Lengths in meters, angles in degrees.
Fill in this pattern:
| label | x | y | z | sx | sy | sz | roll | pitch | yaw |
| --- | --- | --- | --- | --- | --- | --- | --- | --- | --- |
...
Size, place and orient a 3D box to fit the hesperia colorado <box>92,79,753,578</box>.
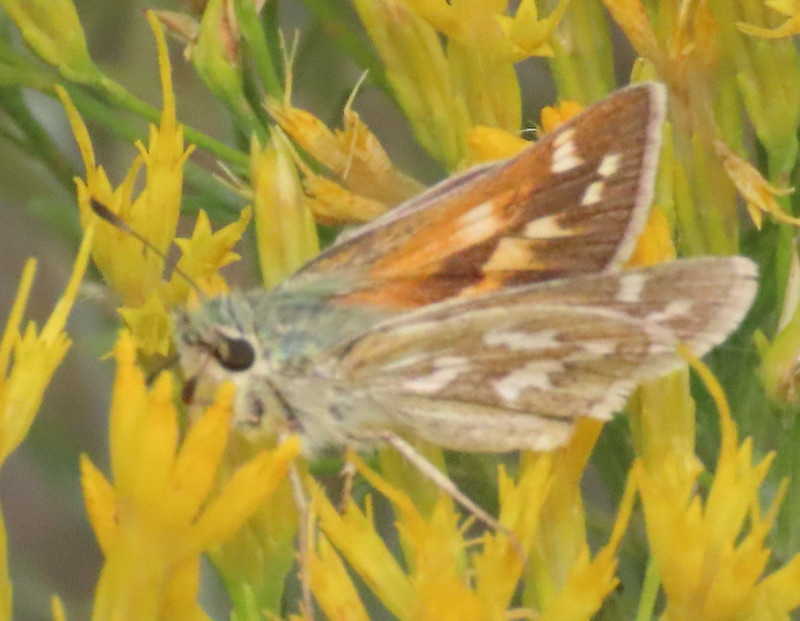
| label | x | y | z | sx | sy | sz | roll | pitch | yaw |
| --- | --- | --- | --- | --- | --- | --- | --- | --- | --- |
| hesperia colorado | 0.022 | -0.022 | 0.772 | 0.268 | 0.200 | 0.229 | -1 | 27 | 4 |
